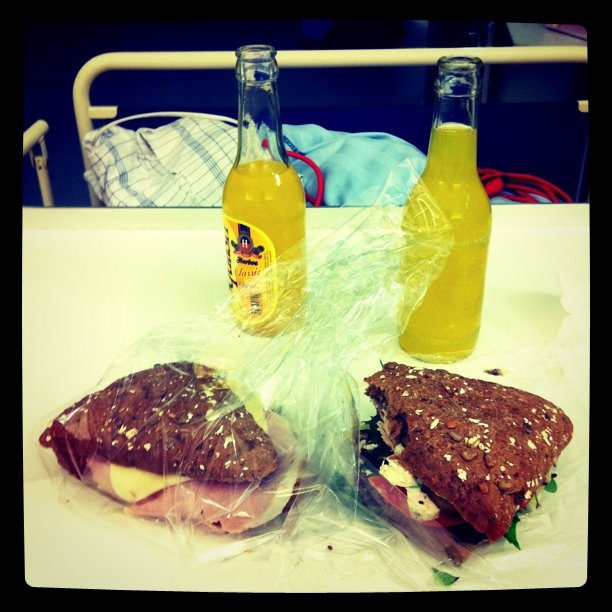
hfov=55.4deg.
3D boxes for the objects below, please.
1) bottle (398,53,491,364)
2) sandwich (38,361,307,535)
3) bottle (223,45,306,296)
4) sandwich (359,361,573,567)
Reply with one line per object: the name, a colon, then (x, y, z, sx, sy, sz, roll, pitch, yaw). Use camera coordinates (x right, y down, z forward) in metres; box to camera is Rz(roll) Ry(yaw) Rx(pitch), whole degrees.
bottle: (0.156, -0.085, 0.586, 0.097, 0.289, 0.129, 9, 44, 9)
sandwich: (-0.108, 0.120, 0.513, 0.181, 0.056, 0.148, 12, 44, 9)
bottle: (-0.045, -0.138, 0.605, 0.089, 0.236, 0.140, 4, 44, 3)
sandwich: (0.194, 0.136, 0.533, 0.169, 0.042, 0.144, -21, 58, -42)
